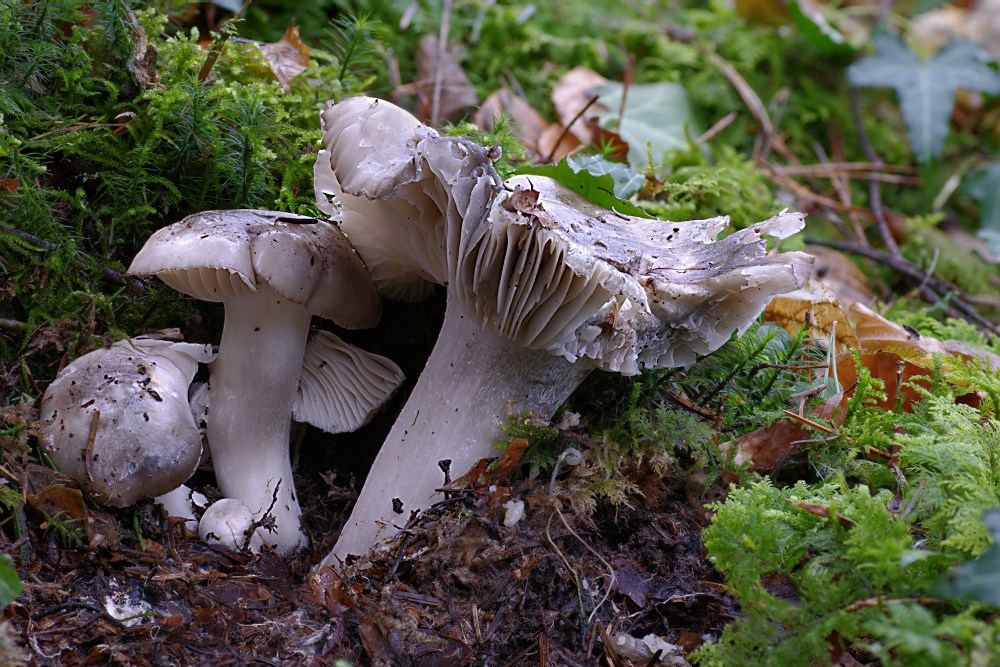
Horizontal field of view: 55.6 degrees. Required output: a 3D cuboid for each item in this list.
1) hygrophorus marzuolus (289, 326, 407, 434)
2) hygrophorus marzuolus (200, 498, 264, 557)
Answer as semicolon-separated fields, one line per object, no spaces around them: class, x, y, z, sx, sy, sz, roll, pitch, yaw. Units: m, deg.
hygrophorus marzuolus;-0.630;0.193;3.900;0.422;0.193;0.438;35;62;-21
hygrophorus marzuolus;-0.999;0.729;3.551;0.167;0.199;0.160;12;83;2
